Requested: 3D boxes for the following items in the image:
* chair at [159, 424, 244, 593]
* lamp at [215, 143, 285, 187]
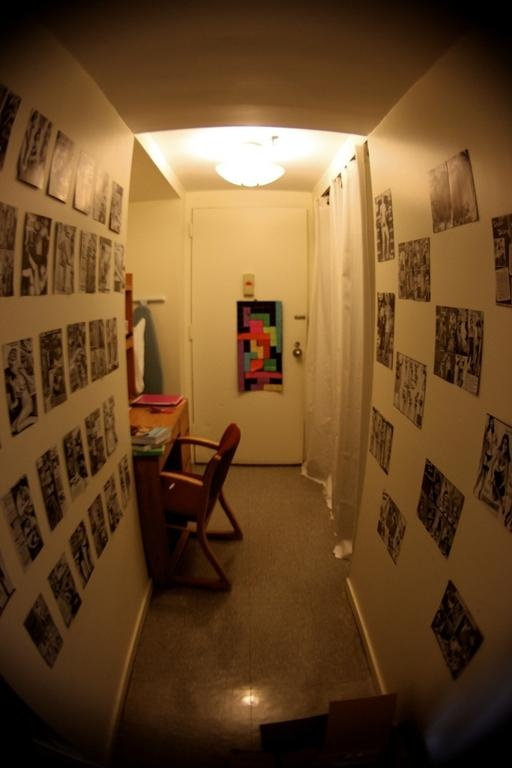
[{"bbox_3d":[-0.245,0.499,2.035,0.247,0.616,0.393,5,14,8],"label":"chair"},{"bbox_3d":[-0.031,-1.069,2.209,0.288,0.142,0.310,9,13,42],"label":"lamp"}]
